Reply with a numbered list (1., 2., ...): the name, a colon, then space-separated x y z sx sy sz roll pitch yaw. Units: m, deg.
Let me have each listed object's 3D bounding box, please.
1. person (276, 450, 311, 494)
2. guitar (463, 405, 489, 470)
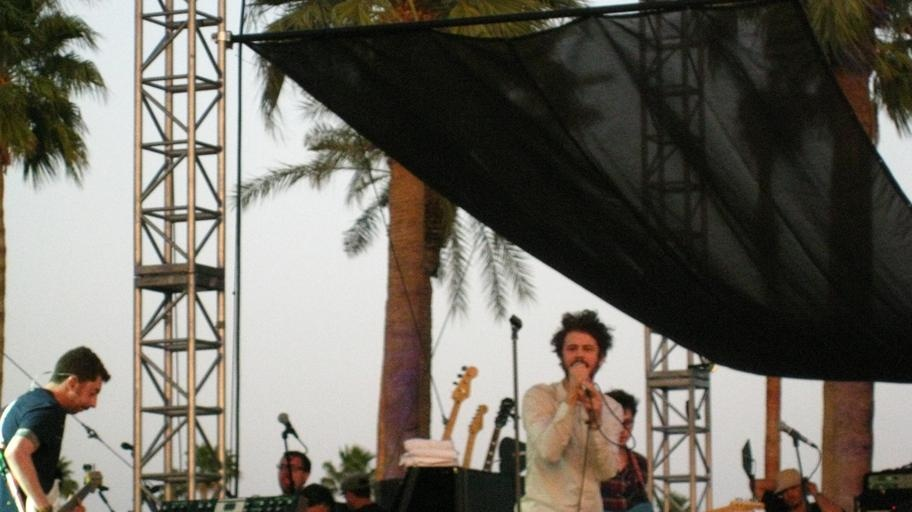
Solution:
1. person: -3.232 4.337 43.903 0.608 0.857 0.660 5 -14 5
2. guitar: 0.356 3.768 45.402 0.373 1.651 0.189 14 21 0
